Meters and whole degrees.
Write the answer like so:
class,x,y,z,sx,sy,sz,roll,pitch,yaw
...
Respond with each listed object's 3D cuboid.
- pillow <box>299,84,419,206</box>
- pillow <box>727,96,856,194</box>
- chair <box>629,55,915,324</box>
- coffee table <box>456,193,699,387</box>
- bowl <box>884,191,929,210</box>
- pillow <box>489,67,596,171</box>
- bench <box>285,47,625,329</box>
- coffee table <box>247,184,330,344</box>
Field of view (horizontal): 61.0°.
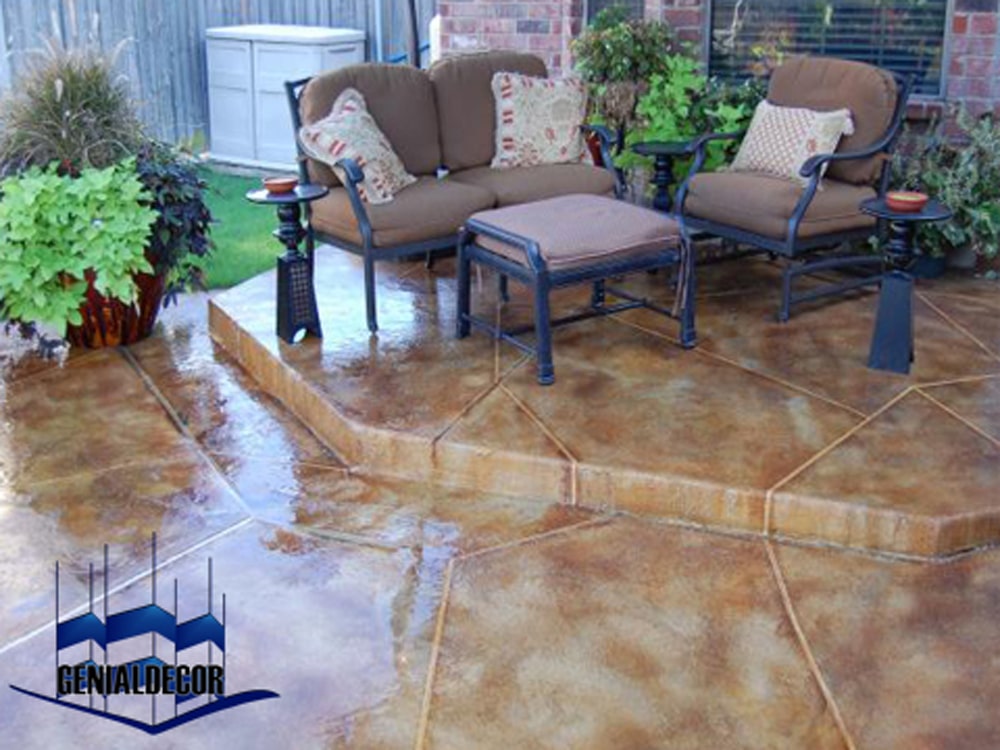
class,x,y,z,sx,sy,sz,roll,pitch,yaw
pillow,-0.733,-1.221,4.496,0.609,0.489,0.539,22,33,37
pillow,1.617,-1.312,4.717,0.172,0.519,0.638,19,3,-38
chair,1.619,-1.089,4.786,0.937,1.237,0.951,-15,25,-22
coffee table,0.329,-0.672,4.131,1.009,0.726,1.003,-16,30,-25
bowl,1.861,-0.805,3.898,0.183,0.082,0.185,0,26,0
pillow,0.234,-1.539,5.136,0.688,0.658,0.233,-4,5,-9
bench,-0.207,-1.172,4.995,1.838,1.229,0.857,-18,31,-34
coffee table,-1.022,-0.583,4.279,0.371,0.731,0.444,-5,26,-11
